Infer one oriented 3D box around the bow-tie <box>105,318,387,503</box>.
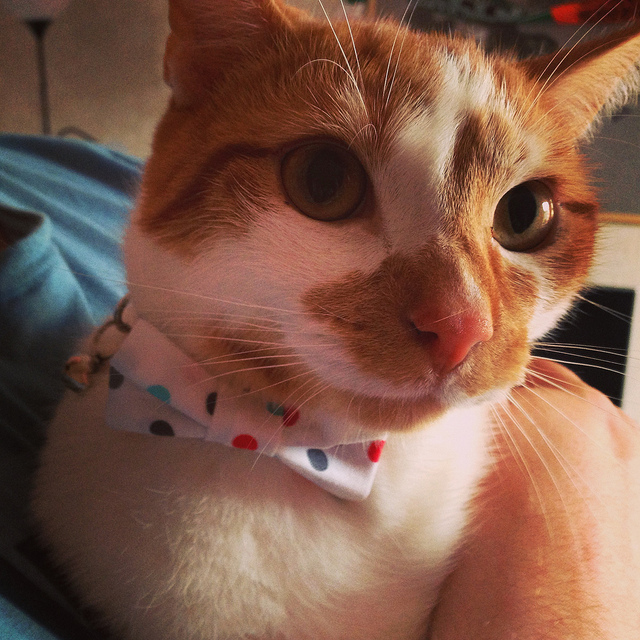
[{"bbox_3d":[-0.072,0.100,0.749,0.258,0.091,0.091,24,-25,4],"label":"bow-tie"}]
